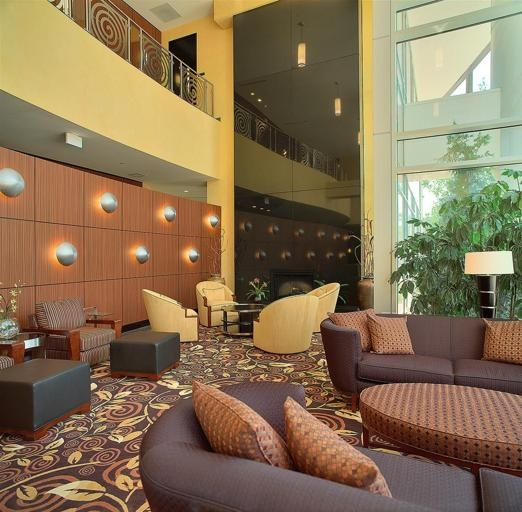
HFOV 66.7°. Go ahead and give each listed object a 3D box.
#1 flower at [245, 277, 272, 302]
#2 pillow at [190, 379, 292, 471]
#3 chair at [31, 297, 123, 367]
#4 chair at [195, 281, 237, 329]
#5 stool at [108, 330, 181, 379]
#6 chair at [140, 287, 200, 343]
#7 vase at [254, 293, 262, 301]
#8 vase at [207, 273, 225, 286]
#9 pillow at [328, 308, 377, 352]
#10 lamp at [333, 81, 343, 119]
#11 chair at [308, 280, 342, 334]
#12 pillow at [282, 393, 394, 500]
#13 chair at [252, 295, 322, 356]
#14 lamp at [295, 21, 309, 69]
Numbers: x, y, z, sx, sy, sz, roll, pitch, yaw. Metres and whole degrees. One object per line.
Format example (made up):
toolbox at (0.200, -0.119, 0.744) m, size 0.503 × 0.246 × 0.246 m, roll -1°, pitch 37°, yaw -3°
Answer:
flower at (-0.052, 0.802, 9.422) m, size 0.518 × 0.679 × 0.550 m, roll 0°, pitch -3°, yaw 3°
pillow at (-0.102, 0.703, 1.718) m, size 0.179 × 0.224 × 0.473 m, roll 7°, pitch -16°, yaw 37°
chair at (-2.418, 1.016, 5.247) m, size 0.689 × 0.755 × 1.013 m, roll 1°, pitch 0°, yaw 16°
chair at (-0.947, 0.997, 8.347) m, size 0.757 × 0.909 × 0.821 m, roll -1°, pitch -3°, yaw -21°
stool at (-1.339, 1.165, 4.881) m, size 0.526 × 0.393 × 0.545 m, roll 0°, pitch -1°, yaw 15°
chair at (-1.489, 1.034, 6.758) m, size 0.846 × 0.857 × 0.909 m, roll -2°, pitch -2°, yaw -28°
vase at (-0.076, 0.940, 8.921) m, size 0.159 × 0.166 × 0.166 m, roll 1°, pitch -2°, yaw 0°
vase at (-1.026, 0.532, 9.256) m, size 0.296 × 0.305 × 0.299 m, roll 3°, pitch 5°, yaw 44°
pillow at (0.948, 0.736, 4.111) m, size 0.397 × 0.419 × 0.120 m, roll 3°, pitch -23°, yaw -38°
lamp at (1.636, -3.346, 8.491) m, size 0.179 × 0.781 × 0.075 m, roll -3°, pitch 0°, yaw 44°
chair at (1.060, 0.863, 7.036) m, size 0.598 × 0.706 × 0.574 m, roll 3°, pitch 1°, yaw -4°
pillow at (0.251, 0.707, 1.476) m, size 0.197 × 0.331 × 0.458 m, roll -3°, pitch -1°, yaw -32°
chair at (0.332, 0.952, 5.865) m, size 0.908 × 0.898 × 0.816 m, roll -1°, pitch 2°, yaw -31°
lamp at (0.873, -4.653, 8.659) m, size 0.243 × 1.168 × 1.000 m, roll -3°, pitch -1°, yaw 7°
